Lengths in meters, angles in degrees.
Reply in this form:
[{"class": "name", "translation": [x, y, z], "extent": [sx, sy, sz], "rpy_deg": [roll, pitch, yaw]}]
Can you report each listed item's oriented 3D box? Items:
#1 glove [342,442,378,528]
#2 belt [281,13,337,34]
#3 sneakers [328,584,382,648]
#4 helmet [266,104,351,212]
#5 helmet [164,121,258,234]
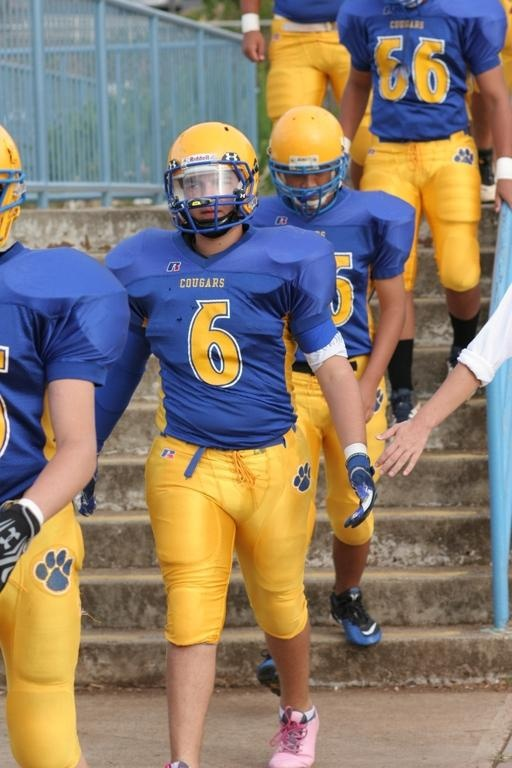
[{"class": "glove", "translation": [0.242, 0.243, 2.491], "extent": [0.087, 0.199, 0.061], "rpy_deg": [1, -27, -8]}, {"class": "belt", "translation": [0.268, -1.780, 5.315], "extent": [0.168, 0.051, 0.116], "rpy_deg": [-2, 7, 20]}, {"class": "sneakers", "translation": [0.340, 0.814, 3.602], "extent": [0.110, 0.125, 0.270], "rpy_deg": [-20, 37, -14]}, {"class": "helmet", "translation": [0.214, -0.724, 3.451], "extent": [0.281, 0.318, 0.288], "rpy_deg": [1, -30, 6]}, {"class": "helmet", "translation": [-0.108, -0.506, 2.631], "extent": [0.247, 0.240, 0.302], "rpy_deg": [0, 22, 11]}]
